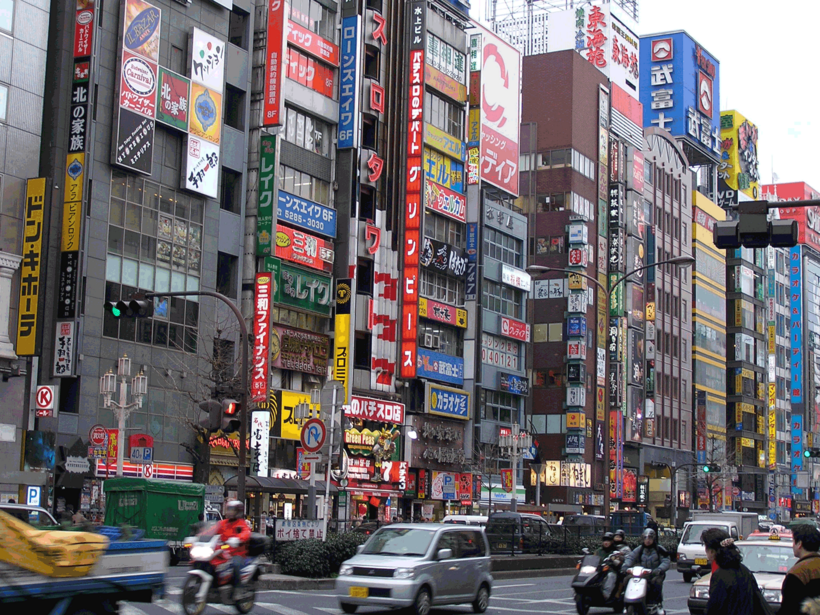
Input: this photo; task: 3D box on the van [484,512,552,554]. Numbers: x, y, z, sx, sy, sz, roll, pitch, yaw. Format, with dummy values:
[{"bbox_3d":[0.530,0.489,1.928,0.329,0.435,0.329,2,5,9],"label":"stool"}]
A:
[{"bbox_3d":[4.456,9.417,54.647,1.370,1.120,2.158,-1,-1,33],"label":"van"}]
